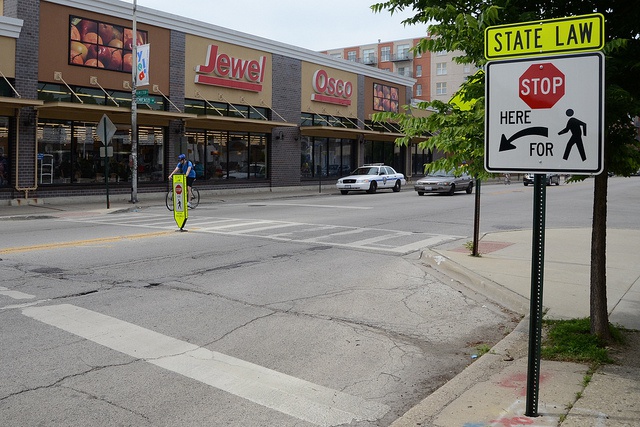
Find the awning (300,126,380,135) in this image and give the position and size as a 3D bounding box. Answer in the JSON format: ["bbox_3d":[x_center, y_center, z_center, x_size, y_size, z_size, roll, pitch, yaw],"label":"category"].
[{"bbox_3d":[1.478,-6.028,38.776,2.839,0.545,6.792,3,8,34],"label":"awning"}]

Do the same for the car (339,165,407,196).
[{"bbox_3d":[3.394,-2.243,33.859,4.620,1.527,1.391,-7,9,-41],"label":"car"}]

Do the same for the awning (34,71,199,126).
[{"bbox_3d":[-9.648,-5.646,26.026,2.301,2.257,7.541,-1,3,35],"label":"awning"}]

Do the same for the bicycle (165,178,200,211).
[{"bbox_3d":[-5.875,-0.676,22.975,1.100,1.397,2.237,-1,-2,42],"label":"bicycle"}]
